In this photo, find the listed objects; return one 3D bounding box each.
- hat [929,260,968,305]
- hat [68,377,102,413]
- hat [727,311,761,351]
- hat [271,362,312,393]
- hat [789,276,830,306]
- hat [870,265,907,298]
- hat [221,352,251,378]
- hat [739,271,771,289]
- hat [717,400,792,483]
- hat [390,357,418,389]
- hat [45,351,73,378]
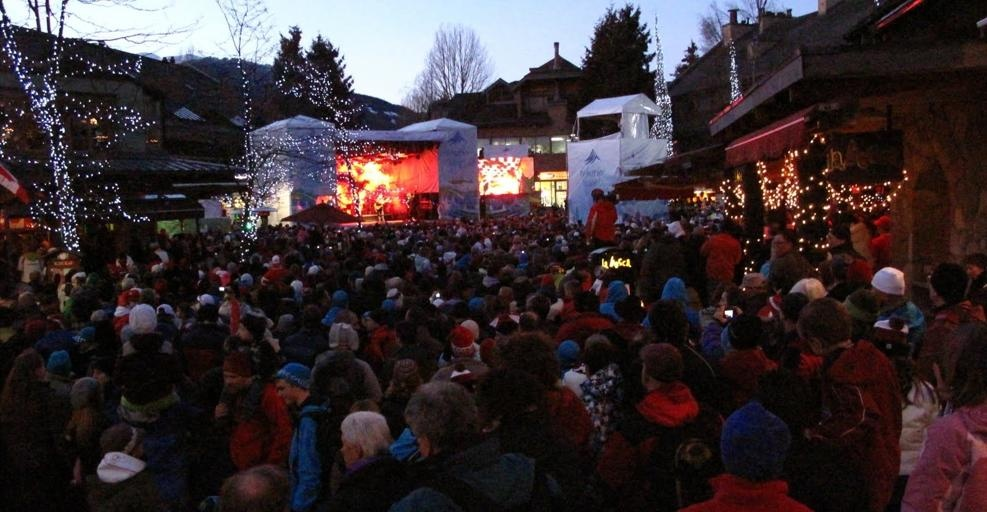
[{"bbox_3d":[5.428,0.329,8.664,0.460,0.499,0.529,1,10,11],"label":"hat"},{"bbox_3d":[-5.010,1.692,8.699,0.314,0.342,0.406,2,-1,-8],"label":"hat"},{"bbox_3d":[2.885,0.873,8.231,0.357,0.383,0.425,5,8,15],"label":"hat"},{"bbox_3d":[-2.383,1.425,8.476,0.418,0.236,0.286,15,8,4],"label":"hat"},{"bbox_3d":[4.098,0.444,9.213,0.453,0.368,0.436,-6,5,21],"label":"hat"},{"bbox_3d":[5.125,0.331,9.352,0.420,0.317,0.438,-9,4,-15],"label":"hat"},{"bbox_3d":[-3.087,1.310,8.524,0.311,0.222,0.297,-1,4,-7],"label":"hat"},{"bbox_3d":[3.840,0.345,10.447,0.379,0.178,0.268,-3,4,21],"label":"hat"},{"bbox_3d":[2.408,1.749,6.772,0.576,0.623,0.739,1,2,12],"label":"hat"},{"bbox_3d":[-1.082,1.433,8.770,0.403,0.346,0.273,-7,10,-9],"label":"hat"},{"bbox_3d":[-5.703,1.426,9.361,0.342,0.339,0.373,0,0,2],"label":"hat"}]
